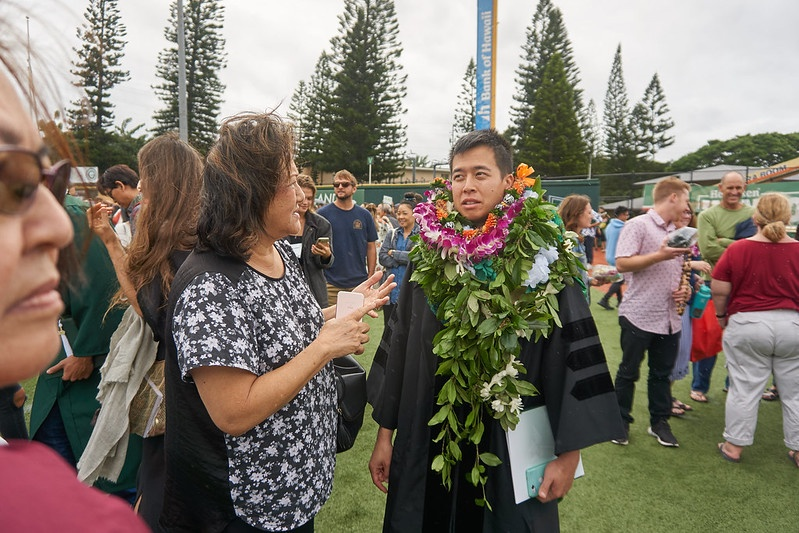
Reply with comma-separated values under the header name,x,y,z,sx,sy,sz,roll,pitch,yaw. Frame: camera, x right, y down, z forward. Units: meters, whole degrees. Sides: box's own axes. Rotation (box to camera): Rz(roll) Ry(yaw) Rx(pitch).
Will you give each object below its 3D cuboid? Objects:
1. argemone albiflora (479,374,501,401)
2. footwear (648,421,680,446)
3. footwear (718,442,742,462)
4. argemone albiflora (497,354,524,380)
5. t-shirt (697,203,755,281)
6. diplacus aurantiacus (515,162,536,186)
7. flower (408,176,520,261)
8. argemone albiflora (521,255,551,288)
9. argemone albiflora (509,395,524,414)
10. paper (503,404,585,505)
name,x,y,z,sx,sy,sz,roll,pitch,yaw
argemone albiflora,0.486,0.636,2.887,0.043,0.141,0.085,40,-6,-28
footwear,2.394,1.514,5.010,0.130,0.135,0.281,-6,16,-24
footwear,2.857,1.624,4.738,0.092,0.139,0.205,-1,37,2
argemone albiflora,0.595,0.539,2.901,0.089,0.102,0.156,12,17,42
t-shirt,3.790,-0.270,6.344,0.678,0.845,0.480,-2,21,8
diplacus aurantiacus,0.730,-0.537,3.190,0.107,0.121,0.206,3,13,11
flower,0.364,-0.221,3.218,0.385,0.196,0.471,-7,42,10
argemone albiflora,0.753,0.029,3.013,0.146,0.159,0.076,-4,-9,-7
argemone albiflora,0.608,0.742,2.906,0.033,0.092,0.092,23,65,33
paper,0.726,0.980,2.814,0.437,0.474,0.109,-10,-3,-20
